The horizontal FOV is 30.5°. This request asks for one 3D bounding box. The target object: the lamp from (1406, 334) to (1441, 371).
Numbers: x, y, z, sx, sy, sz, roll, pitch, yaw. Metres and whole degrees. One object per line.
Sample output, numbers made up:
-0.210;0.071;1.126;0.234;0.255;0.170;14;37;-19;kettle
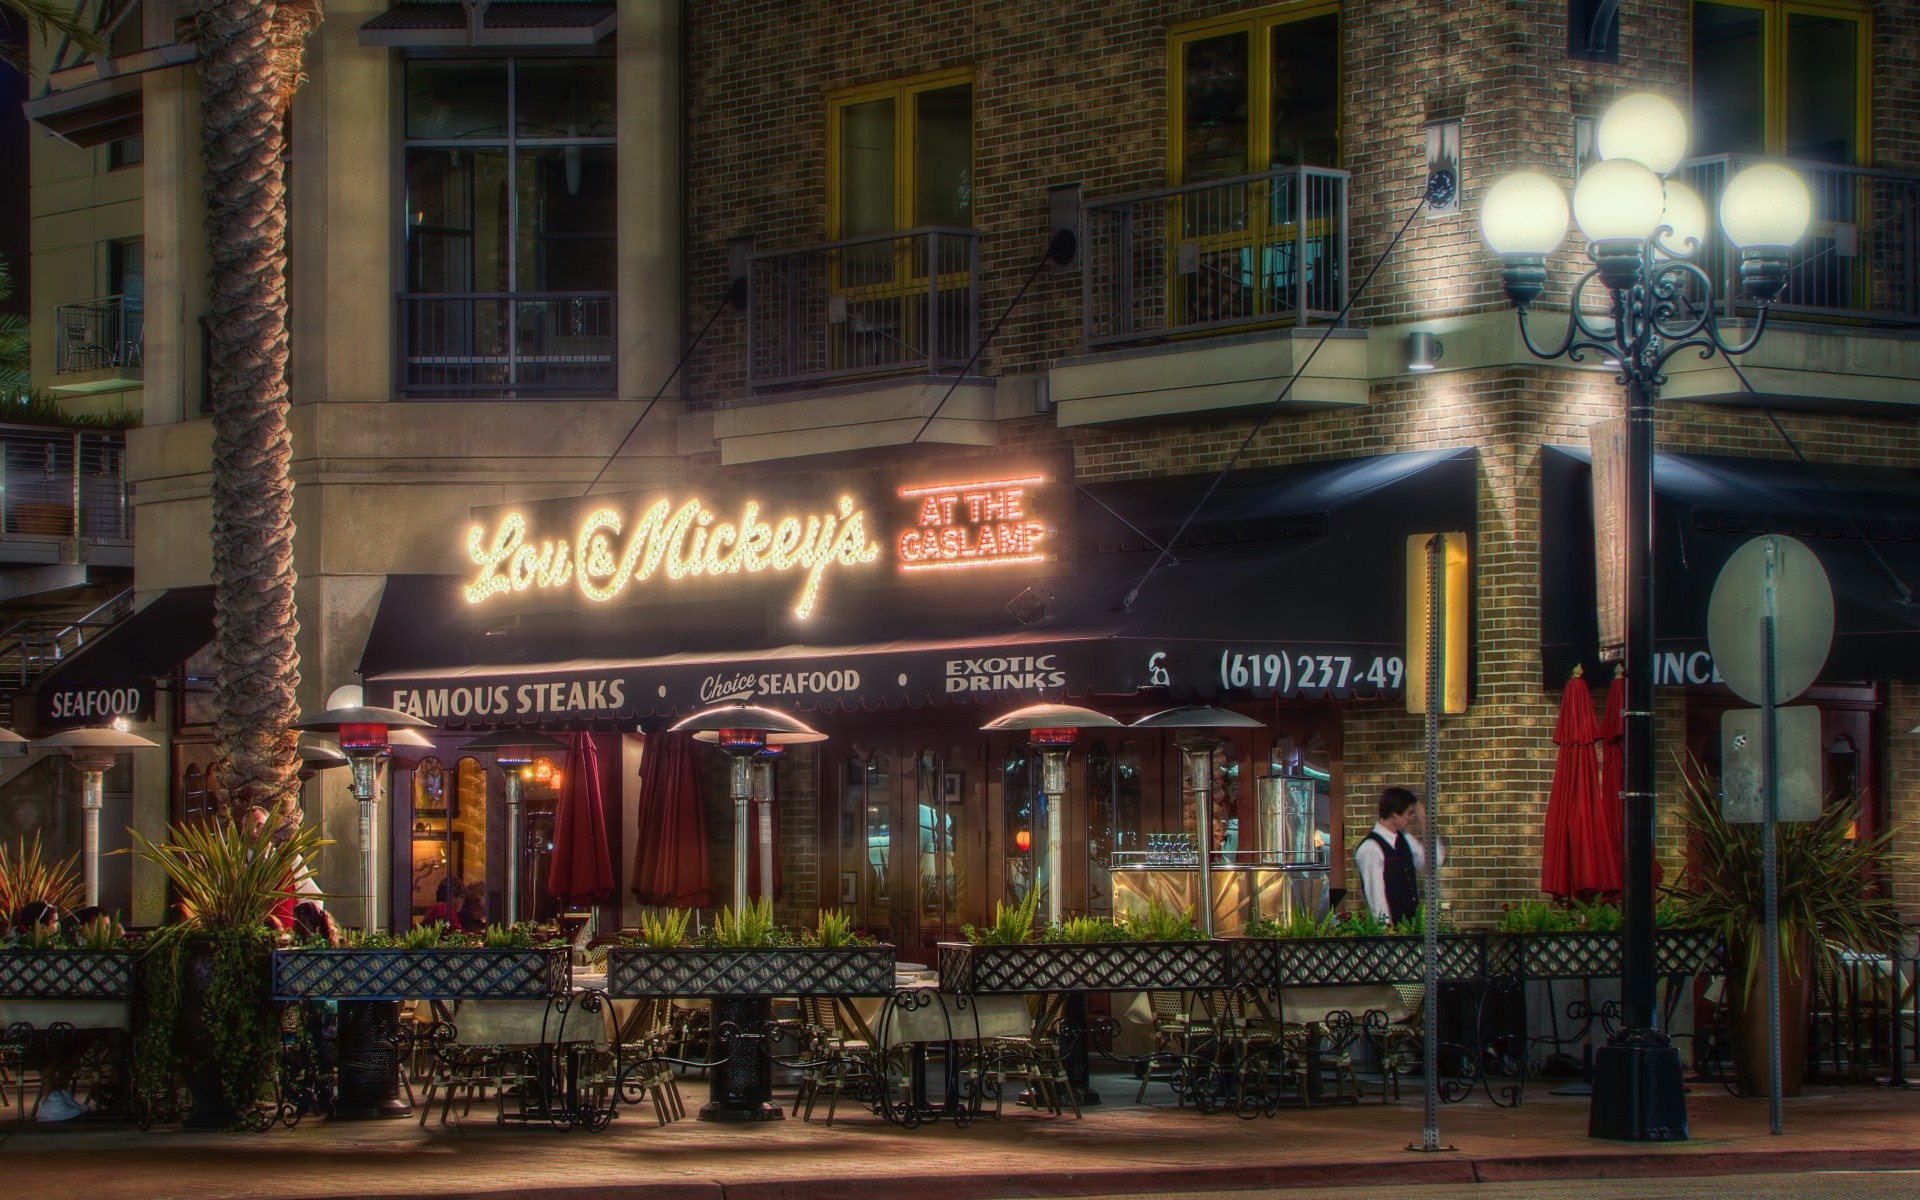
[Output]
4.807;-2.578;36.725;0.259;0.361;0.348;2;-11;-19;lamp
